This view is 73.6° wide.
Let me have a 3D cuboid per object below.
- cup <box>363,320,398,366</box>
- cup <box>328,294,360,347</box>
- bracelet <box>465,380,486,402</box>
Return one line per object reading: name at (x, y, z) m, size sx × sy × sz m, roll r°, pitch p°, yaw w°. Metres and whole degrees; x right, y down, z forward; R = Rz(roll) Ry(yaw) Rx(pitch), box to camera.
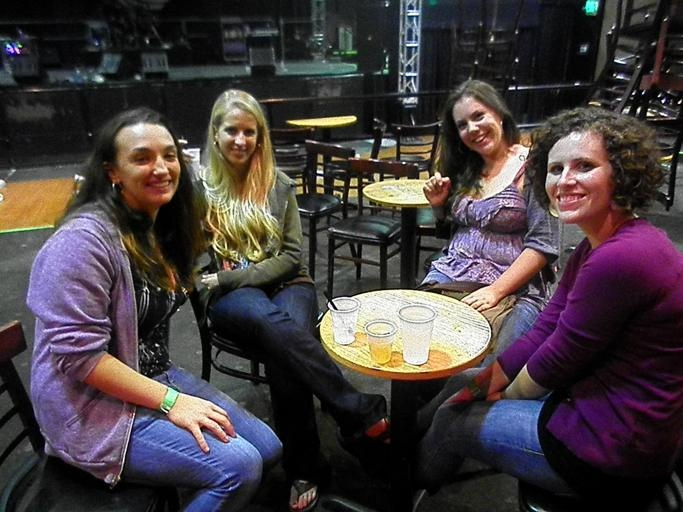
cup at (0.138, 0.332, 1.833) m, size 0.166 × 0.170 × 0.153 m, roll -2°, pitch 28°, yaw 1°
cup at (0.036, 0.270, 1.983) m, size 0.199 × 0.217 × 0.178 m, roll 0°, pitch 22°, yaw 3°
bracelet at (0.568, 0.580, 1.921) m, size 0.069 × 0.071 × 0.072 m, roll 1°, pitch 3°, yaw -4°
